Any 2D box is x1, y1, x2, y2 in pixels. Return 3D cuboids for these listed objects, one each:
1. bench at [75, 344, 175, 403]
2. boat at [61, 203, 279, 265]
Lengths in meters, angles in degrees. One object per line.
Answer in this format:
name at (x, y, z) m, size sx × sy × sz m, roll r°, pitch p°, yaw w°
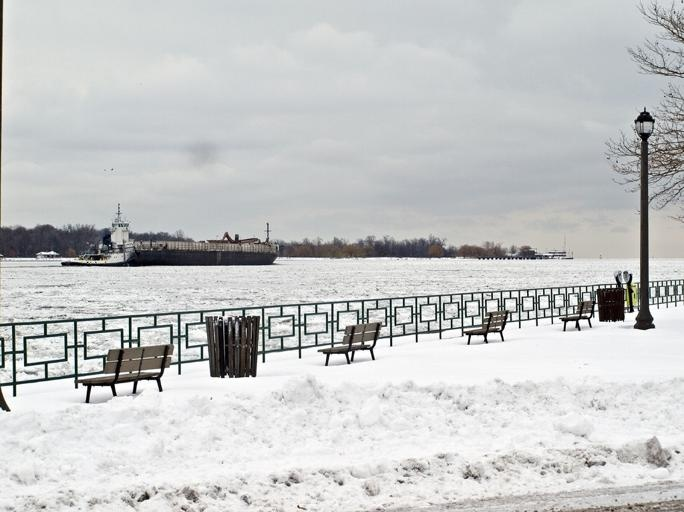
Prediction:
bench at (-3.772, 2.037, 19.577) m, size 0.743 × 0.968 × 1.857 m, roll 3°, pitch 0°, yaw 27°
boat at (-21.134, -1.942, 150.579) m, size 30.501 × 7.225 × 4.514 m, roll 1°, pitch -11°, yaw -34°
